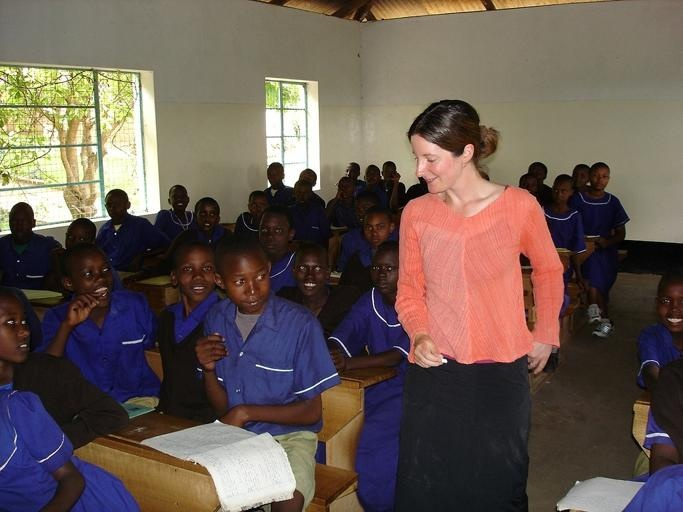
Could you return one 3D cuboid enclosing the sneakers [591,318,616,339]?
[{"bbox_3d":[2.271,0.624,4.724,0.098,0.136,0.283,5,2,36],"label":"sneakers"}]
